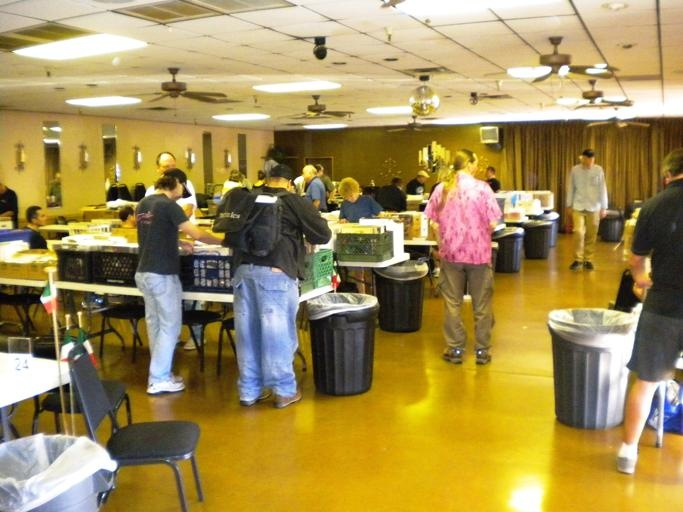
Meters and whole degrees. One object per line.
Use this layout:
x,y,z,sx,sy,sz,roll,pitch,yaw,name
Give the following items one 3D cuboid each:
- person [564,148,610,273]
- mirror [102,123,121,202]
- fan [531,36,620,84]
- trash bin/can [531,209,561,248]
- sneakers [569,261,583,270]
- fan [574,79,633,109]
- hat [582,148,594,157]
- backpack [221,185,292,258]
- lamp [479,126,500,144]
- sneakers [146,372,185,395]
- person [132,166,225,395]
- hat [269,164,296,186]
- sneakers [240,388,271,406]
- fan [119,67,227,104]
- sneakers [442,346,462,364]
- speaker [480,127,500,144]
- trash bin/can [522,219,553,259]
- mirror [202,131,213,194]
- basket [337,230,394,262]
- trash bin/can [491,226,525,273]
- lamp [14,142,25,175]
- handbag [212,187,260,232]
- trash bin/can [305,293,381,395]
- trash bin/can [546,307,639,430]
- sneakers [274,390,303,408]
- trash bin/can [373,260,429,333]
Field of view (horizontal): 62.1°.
4.302,-0.794,9.977,0.619,2.095,0.672,1,9,22,person
-5.753,-2.288,14.196,0.088,2.208,0.552,24,36,20,mirror
2.497,-2.023,6.080,0.643,0.228,0.612,-2,8,-5,fan
4.343,-0.602,12.354,0.691,0.730,0.772,10,13,39,trash bin/can
4.223,0.167,10.220,0.166,0.148,0.081,-18,27,-25,sneakers
4.485,-2.784,9.712,0.942,0.305,0.940,1,4,32,fan
4.229,-1.747,9.718,0.136,0.124,0.234,0,8,15,hat
-0.725,-0.289,4.555,0.531,0.502,0.444,12,12,18,backpack
4.387,-3.572,16.949,0.545,0.489,0.524,-5,5,-40,lamp
-1.536,1.121,4.980,0.322,0.133,0.136,-6,9,-32,sneakers
-1.429,0.231,5.147,0.949,1.818,0.808,-1,1,-20,person
-0.513,-0.663,4.699,0.159,0.111,0.222,-1,13,-5,hat
-0.729,1.170,4.765,0.092,0.102,0.262,8,13,39,sneakers
-2.321,-2.338,7.764,1.250,0.370,1.223,-2,8,20,fan
1.073,0.956,5.523,0.108,0.139,0.211,-2,13,-14,sneakers
4.424,-3.628,16.978,0.584,0.507,0.429,0,8,12,speaker
3.934,-0.333,11.490,0.805,0.850,0.769,-1,6,29,trash bin/can
-4.081,-2.870,17.027,0.167,1.587,0.337,12,16,36,mirror
0.271,-0.094,6.166,0.378,0.243,0.470,1,3,22,basket
2.984,-0.111,10.168,0.895,0.819,0.819,0,6,17,trash bin/can
-6.872,-2.098,12.101,0.072,0.592,0.265,1,9,20,lamp
-0.833,-0.360,4.444,0.356,0.367,0.151,2,-24,43,handbag
0.003,0.771,4.890,0.671,0.696,0.627,-3,-3,28,trash bin/can
1.750,0.813,4.186,0.529,0.581,0.486,1,2,28,trash bin/can
-0.454,1.161,4.653,0.080,0.079,0.215,5,12,32,sneakers
0.643,0.492,6.720,0.801,0.778,0.761,-1,0,6,trash bin/can
